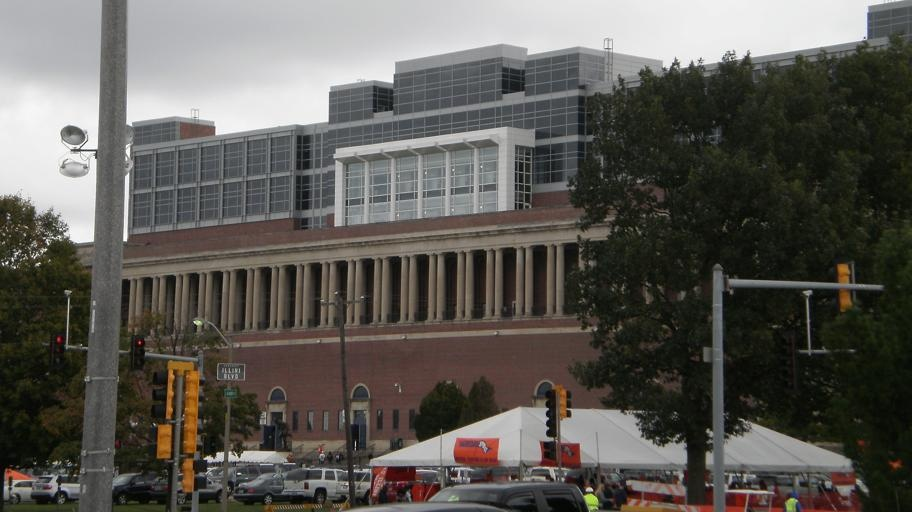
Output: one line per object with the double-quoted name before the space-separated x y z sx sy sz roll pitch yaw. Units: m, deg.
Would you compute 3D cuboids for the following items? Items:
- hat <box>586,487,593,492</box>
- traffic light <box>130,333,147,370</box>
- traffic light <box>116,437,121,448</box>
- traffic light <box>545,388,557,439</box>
"hat" 7.818 13.769 97.737 0.398 0.193 0.383 1 -10 -5
"traffic light" -18.136 5.319 95.001 0.699 1.956 0.856 -2 -10 -3
"traffic light" -24.116 13.432 119.445 0.205 0.577 1.226 -1 -10 -11
"traffic light" 5.472 8.916 94.809 0.730 2.872 0.645 -5 -10 11
